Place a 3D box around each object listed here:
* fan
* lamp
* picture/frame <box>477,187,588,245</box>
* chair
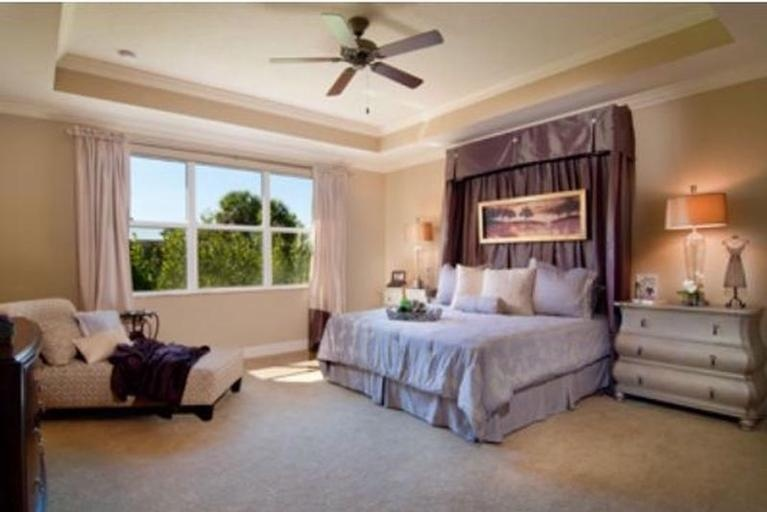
[{"bbox_3d":[-0.164,-1.969,5.170,1.495,0.651,1.144,5,9,38],"label":"fan"},{"bbox_3d":[3.220,-0.128,5.613,0.516,1.217,0.517,6,12,37],"label":"lamp"},{"bbox_3d":[1.808,-0.478,6.717,1.345,0.590,0.028,1,8,36],"label":"picture/frame"},{"bbox_3d":[-2.728,1.054,5.811,2.211,1.119,1.100,0,-5,-1],"label":"chair"}]
